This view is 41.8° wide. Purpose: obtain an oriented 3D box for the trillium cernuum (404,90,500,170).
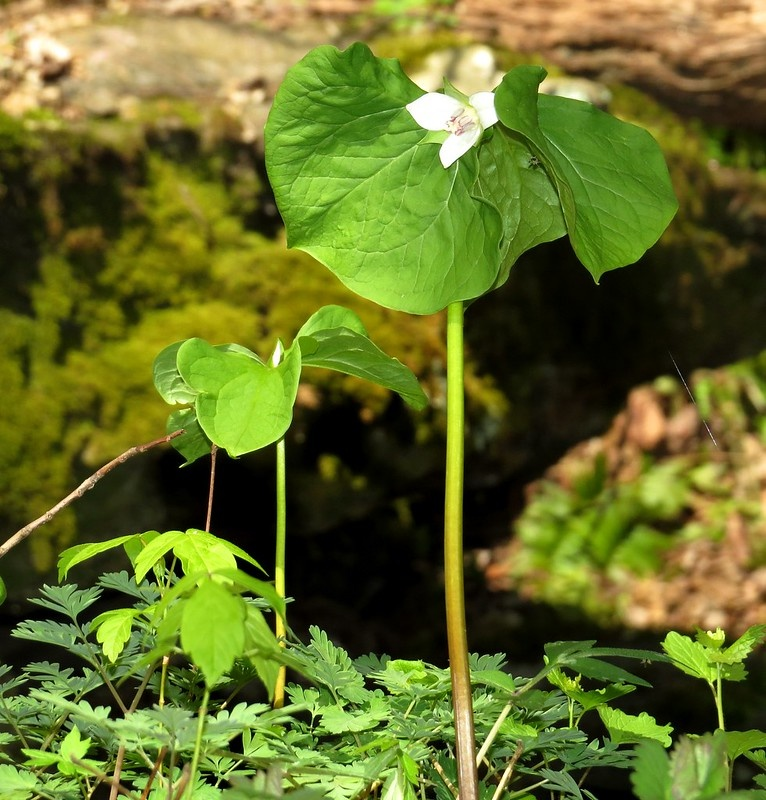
[{"bbox_3d":[0.082,-0.319,1.178,0.101,0.081,0.040,-6,31,1],"label":"trillium cernuum"}]
